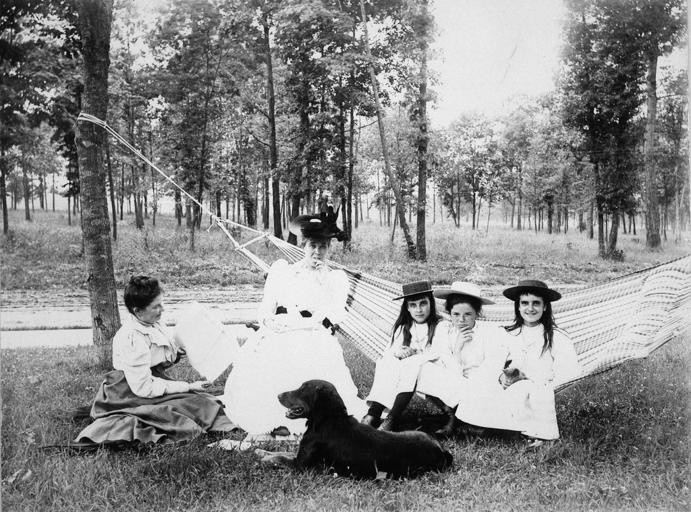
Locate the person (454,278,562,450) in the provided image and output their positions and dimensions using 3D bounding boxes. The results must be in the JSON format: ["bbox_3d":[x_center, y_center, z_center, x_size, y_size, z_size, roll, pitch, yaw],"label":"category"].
[{"bbox_3d":[1.603,0.963,7.320,1.008,1.498,0.959,1,-9,23],"label":"person"}]

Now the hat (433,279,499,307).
[{"bbox_3d":[1.096,0.338,7.326,0.294,0.088,0.321,16,-12,-9],"label":"hat"}]

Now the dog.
[{"bbox_3d":[0.097,1.608,6.859,1.624,0.884,0.632,7,-10,11],"label":"dog"}]
